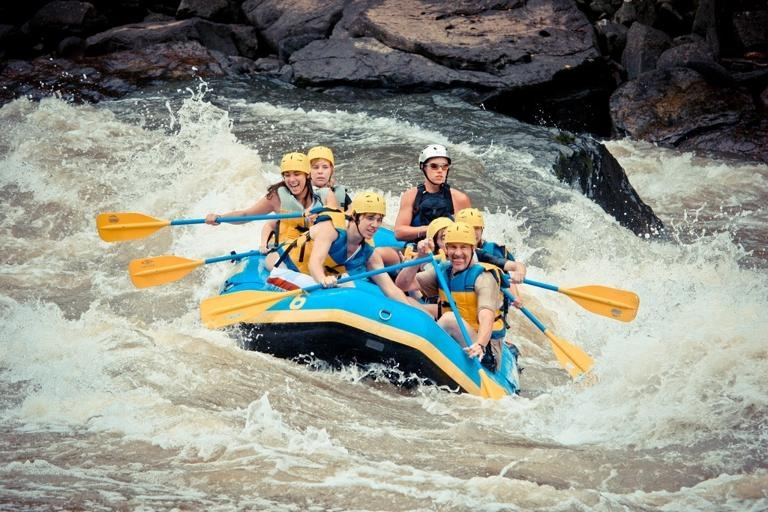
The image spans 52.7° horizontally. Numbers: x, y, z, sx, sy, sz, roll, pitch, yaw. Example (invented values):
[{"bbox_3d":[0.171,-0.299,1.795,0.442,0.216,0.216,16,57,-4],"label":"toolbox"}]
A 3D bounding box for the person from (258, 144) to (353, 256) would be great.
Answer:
[{"bbox_3d":[-0.952,-0.774,9.529,1.079,1.248,0.543,-2,-4,-4],"label":"person"}]

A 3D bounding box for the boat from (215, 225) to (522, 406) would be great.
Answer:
[{"bbox_3d":[-0.080,0.657,8.239,2.622,0.520,1.543,16,11,21],"label":"boat"}]

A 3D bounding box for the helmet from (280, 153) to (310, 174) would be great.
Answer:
[{"bbox_3d":[-1.048,-1.071,9.143,0.260,0.230,0.308,-3,-24,6],"label":"helmet"}]

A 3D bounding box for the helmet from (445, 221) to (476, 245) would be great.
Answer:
[{"bbox_3d":[0.798,-0.232,8.176,0.232,0.206,0.280,3,-18,8],"label":"helmet"}]

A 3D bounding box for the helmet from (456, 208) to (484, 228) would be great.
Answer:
[{"bbox_3d":[0.946,-0.428,8.590,0.301,0.208,0.207,11,-9,24],"label":"helmet"}]

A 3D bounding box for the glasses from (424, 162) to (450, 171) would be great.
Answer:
[{"bbox_3d":[0.633,-1.092,9.409,0.274,0.092,0.122,6,26,-5],"label":"glasses"}]

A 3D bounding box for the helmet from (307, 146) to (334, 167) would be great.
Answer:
[{"bbox_3d":[-0.777,-1.218,9.411,0.310,0.185,0.398,0,5,-4],"label":"helmet"}]

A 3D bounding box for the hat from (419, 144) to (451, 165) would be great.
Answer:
[{"bbox_3d":[0.608,-1.273,9.597,0.307,0.226,0.381,2,-10,-9],"label":"hat"}]

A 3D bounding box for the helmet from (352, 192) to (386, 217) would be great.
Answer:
[{"bbox_3d":[-0.178,-0.554,8.457,0.328,0.270,0.279,1,27,-15],"label":"helmet"}]

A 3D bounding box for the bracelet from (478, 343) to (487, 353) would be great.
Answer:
[{"bbox_3d":[1.028,0.954,8.043,0.080,0.090,0.035,-4,14,-10],"label":"bracelet"}]
